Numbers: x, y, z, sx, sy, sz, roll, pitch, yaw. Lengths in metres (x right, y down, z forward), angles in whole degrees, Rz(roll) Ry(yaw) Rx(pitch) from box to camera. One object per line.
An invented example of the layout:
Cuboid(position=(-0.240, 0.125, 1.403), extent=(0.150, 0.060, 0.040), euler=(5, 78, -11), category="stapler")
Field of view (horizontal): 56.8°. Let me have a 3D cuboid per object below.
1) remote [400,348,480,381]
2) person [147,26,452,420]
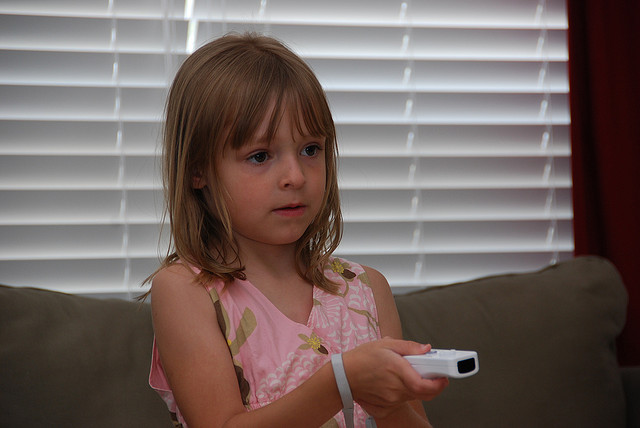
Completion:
Cuboid(position=(0.327, 0.380, 1.589), extent=(0.152, 0.064, 0.083), euler=(0, 2, 40), category="remote")
Cuboid(position=(-0.115, 0.033, 1.920), extent=(0.827, 1.204, 0.417), euler=(-3, -13, 4), category="person")
